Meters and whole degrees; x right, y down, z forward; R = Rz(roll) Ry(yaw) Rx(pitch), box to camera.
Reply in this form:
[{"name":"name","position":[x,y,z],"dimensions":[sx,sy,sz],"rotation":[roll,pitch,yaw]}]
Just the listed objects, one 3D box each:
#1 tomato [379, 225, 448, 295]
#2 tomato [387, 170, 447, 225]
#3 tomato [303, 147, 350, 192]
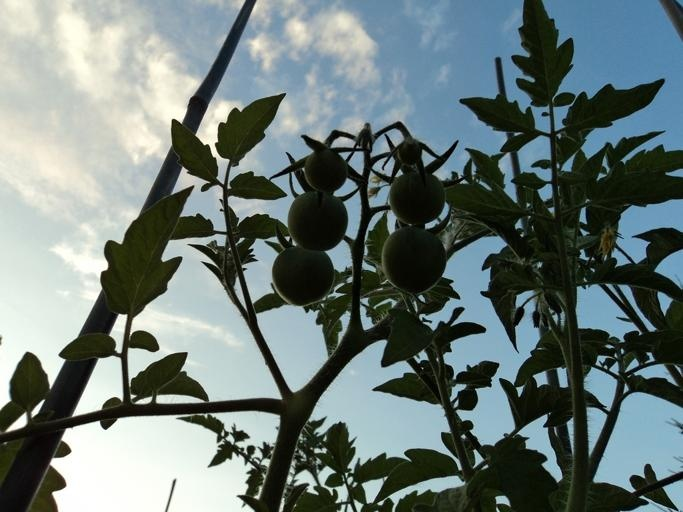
[{"name":"tomato","position":[0.159,0.009,1.236],"dimensions":[0.122,0.133,0.166],"rotation":[-2,-90,-2]},{"name":"tomato","position":[0.180,-0.138,1.216],"dimensions":[0.111,0.159,0.128],"rotation":[4,-17,-7]},{"name":"tomato","position":[-0.039,-0.183,1.157],"dimensions":[0.103,0.060,0.096],"rotation":[3,-48,20]}]
